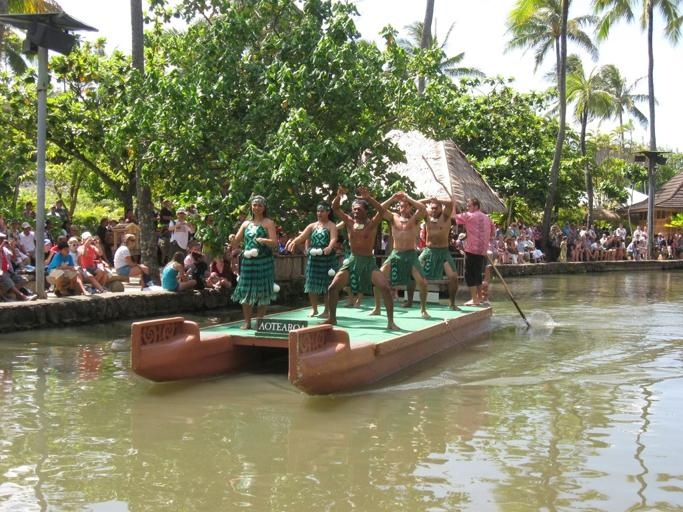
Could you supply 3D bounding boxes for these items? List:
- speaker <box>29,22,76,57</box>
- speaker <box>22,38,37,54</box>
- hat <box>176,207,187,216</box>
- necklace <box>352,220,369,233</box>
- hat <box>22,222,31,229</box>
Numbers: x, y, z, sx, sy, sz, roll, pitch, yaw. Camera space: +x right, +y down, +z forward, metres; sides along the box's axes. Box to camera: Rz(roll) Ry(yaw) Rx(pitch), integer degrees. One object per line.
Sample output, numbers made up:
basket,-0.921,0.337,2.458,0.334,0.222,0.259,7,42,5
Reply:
speaker,-4.318,-3.251,11.287,0.649,0.417,0.302,-4,13,-23
speaker,-4.655,-3.056,11.338,0.166,0.301,0.308,4,-4,-27
hat,-3.005,-0.842,14.290,0.200,0.094,0.288,1,-5,-7
necklace,0.240,-0.374,9.477,0.125,0.117,0.034,-5,-30,22
hat,-5.845,-0.570,14.099,0.135,0.085,0.169,2,-9,-39
